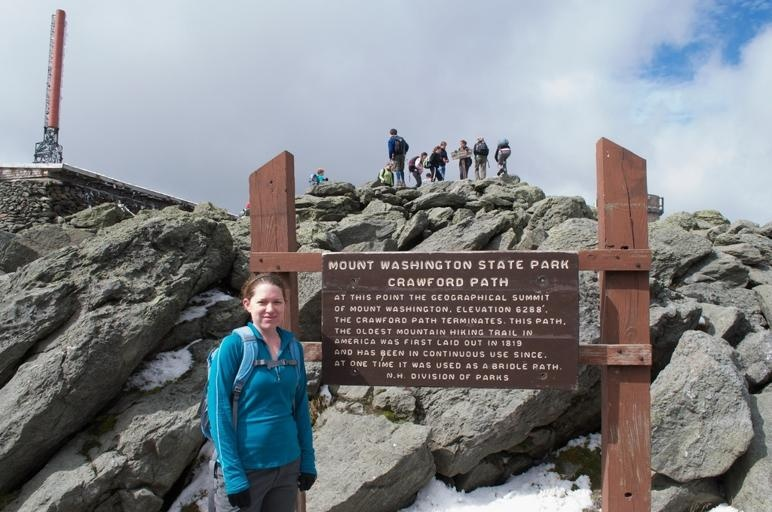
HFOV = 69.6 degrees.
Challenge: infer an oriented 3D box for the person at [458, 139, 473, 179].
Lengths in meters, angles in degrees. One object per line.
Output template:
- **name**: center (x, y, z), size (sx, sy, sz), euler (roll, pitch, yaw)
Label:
- **person**: center (4.190, -5.162, 29.780), size (0.652, 2.138, 1.439), euler (-1, 1, 7)

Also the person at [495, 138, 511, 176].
- **person**: center (6.313, -5.456, 29.944), size (0.647, 2.225, 0.804), euler (25, -27, -39)
